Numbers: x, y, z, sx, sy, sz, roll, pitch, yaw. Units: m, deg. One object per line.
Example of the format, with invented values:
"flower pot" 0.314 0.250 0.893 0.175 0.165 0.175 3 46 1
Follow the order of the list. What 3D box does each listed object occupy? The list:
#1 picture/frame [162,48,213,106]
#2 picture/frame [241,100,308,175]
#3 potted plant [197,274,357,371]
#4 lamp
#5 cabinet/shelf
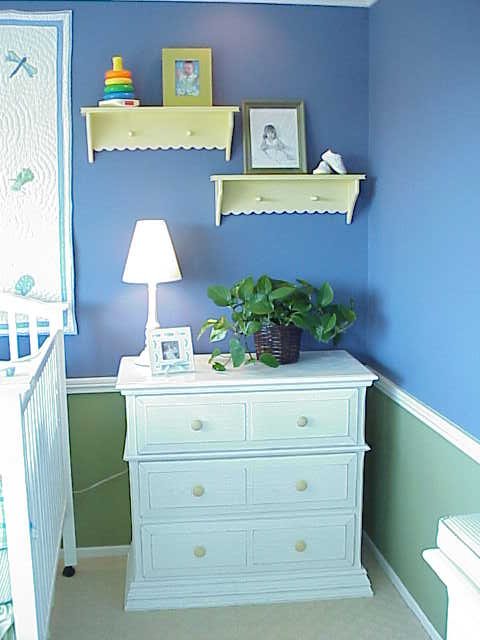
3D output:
"picture/frame" -0.198 -0.890 2.087 0.186 0.216 0.015 2 4 -8
"picture/frame" 0.123 -0.703 2.181 0.266 0.311 0.020 -1 3 -8
"potted plant" 0.159 0.003 2.090 0.398 0.227 0.413 1 1 41
"lamp" -0.321 -0.076 2.059 0.174 0.475 0.173 -3 4 -33
"cabinet/shelf" 0.024 0.599 1.942 0.685 0.666 0.281 -1 6 -4
